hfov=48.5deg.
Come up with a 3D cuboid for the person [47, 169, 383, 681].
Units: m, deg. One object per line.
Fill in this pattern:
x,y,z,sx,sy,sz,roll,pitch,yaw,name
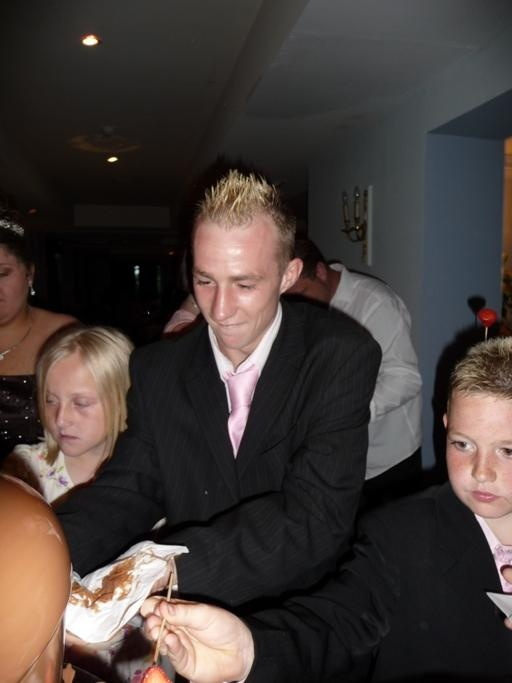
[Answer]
-0.007,0.038,1.408,0.710,0.960,1.050,5,13,20,person
